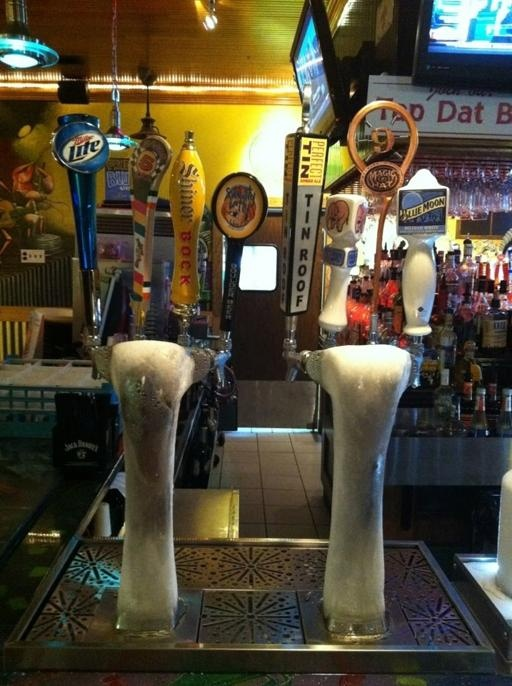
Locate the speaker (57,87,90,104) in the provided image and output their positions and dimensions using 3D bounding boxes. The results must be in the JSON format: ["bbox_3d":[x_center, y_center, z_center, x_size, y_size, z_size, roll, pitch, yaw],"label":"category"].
[{"bbox_3d":[-1.897,-2.586,5.661,0.220,0.209,0.163,3,43,-6],"label":"speaker"}]

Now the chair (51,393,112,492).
[{"bbox_3d":[-0.432,0.247,1.523,0.181,0.293,0.339,0,-3,-6],"label":"chair"}]
